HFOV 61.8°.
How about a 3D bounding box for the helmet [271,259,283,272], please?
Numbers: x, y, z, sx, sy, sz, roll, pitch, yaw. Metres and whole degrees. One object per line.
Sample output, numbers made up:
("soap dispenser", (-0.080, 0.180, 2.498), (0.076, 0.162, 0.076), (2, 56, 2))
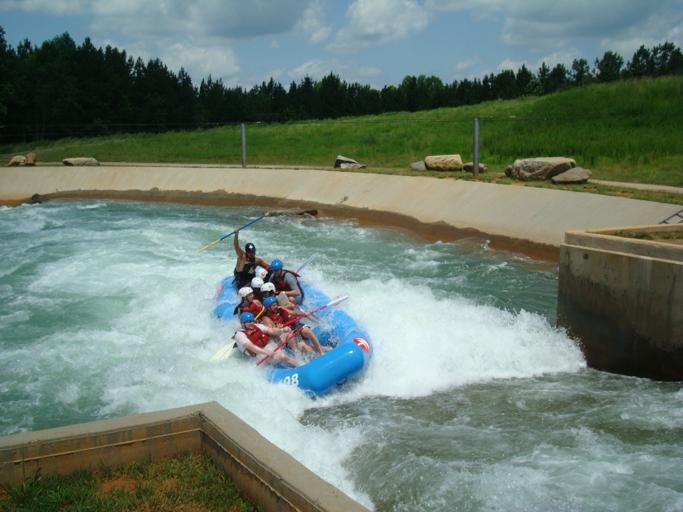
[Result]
("helmet", (-1.373, 0.180, 12.057), (0.183, 0.258, 0.223), (5, -11, 1))

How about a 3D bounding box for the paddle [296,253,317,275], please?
("paddle", (-0.869, 0.197, 12.952), (0.228, 0.230, 1.056), (-5, -19, -30))

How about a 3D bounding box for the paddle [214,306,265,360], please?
("paddle", (-1.846, 1.436, 10.461), (0.325, 0.146, 1.311), (16, 28, 14))

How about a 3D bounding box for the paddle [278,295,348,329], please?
("paddle", (-0.580, 1.090, 11.006), (1.042, 0.165, 0.055), (-28, 41, -8))

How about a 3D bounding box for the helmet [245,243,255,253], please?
("helmet", (-2.001, -0.178, 12.416), (0.152, 0.202, 0.212), (0, -3, -14))

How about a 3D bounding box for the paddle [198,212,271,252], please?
("paddle", (-3.201, -0.682, 17.063), (0.237, 0.388, 3.070), (-1, 23, 38))

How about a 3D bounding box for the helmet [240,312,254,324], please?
("helmet", (-1.705, 1.129, 10.267), (0.202, 0.184, 0.162), (-10, 8, -3))
